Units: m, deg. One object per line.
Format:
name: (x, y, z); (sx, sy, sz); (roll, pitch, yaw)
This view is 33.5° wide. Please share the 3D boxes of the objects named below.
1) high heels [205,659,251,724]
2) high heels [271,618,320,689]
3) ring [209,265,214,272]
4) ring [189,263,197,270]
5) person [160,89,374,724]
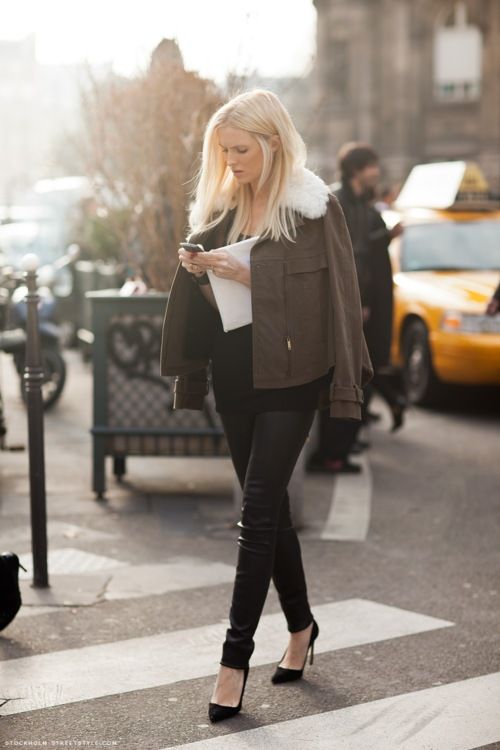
high heels: (-0.060, 0.828, 2.169); (0.071, 0.121, 0.181); (-2, 0, 44)
high heels: (0.131, 0.809, 2.454); (0.098, 0.146, 0.222); (5, 12, 36)
ring: (-0.095, -0.266, 2.082); (0.006, 0.008, 0.027); (12, -12, -3)
ring: (-0.144, -0.276, 2.132); (0.015, 0.013, 0.003); (1, 3, 0)
person: (0.033, 0.075, 2.257); (0.593, 1.629, 0.441); (0, 2, 6)
